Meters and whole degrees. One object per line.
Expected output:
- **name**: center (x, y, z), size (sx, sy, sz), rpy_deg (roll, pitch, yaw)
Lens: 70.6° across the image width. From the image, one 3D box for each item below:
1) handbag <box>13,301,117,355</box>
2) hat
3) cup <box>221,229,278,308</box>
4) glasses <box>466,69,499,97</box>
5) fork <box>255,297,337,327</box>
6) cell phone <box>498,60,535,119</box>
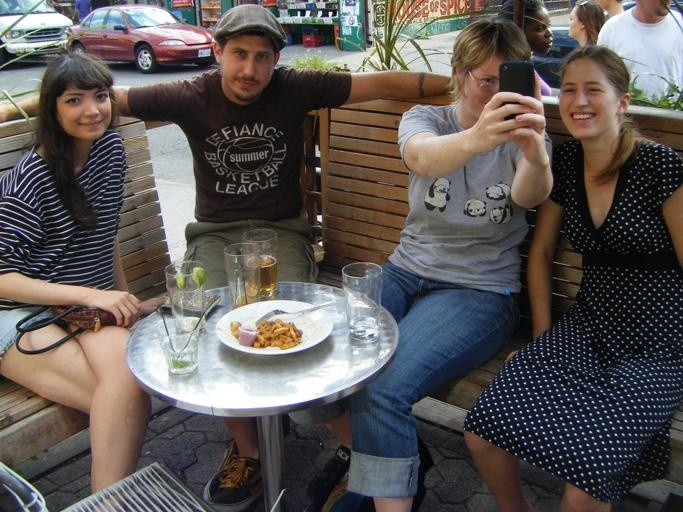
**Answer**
- **handbag**: center (-1.152, 0.355, 2.041), size (0.317, 0.100, 0.230), rpy_deg (-22, 26, -32)
- **hat**: center (-0.480, -1.182, 2.500), size (0.364, 0.227, 0.257), rpy_deg (-8, 29, -12)
- **cup**: center (-0.446, 0.050, 1.993), size (0.216, 0.333, 0.326), rpy_deg (-4, 12, -20)
- **glasses**: center (0.622, -0.763, 2.152), size (0.128, 0.041, 0.128), rpy_deg (0, 29, -25)
- **fork**: center (-0.180, 0.221, 1.848), size (0.285, 0.037, 0.048), rpy_deg (-11, 69, -16)
- **cell phone**: center (0.673, -0.686, 1.857), size (0.133, 0.116, 0.080), rpy_deg (5, 29, 12)
